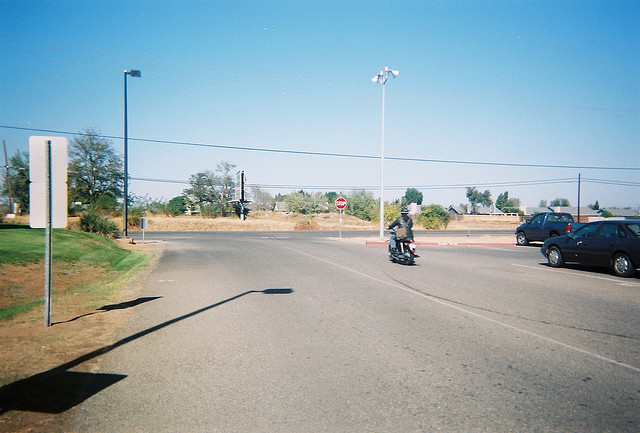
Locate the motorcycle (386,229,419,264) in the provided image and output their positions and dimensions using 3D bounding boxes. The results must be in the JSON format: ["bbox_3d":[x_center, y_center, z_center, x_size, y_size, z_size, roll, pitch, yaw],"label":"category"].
[{"bbox_3d":[2.902,1.252,18.486,1.921,1.128,0.777,-3,-10,35],"label":"motorcycle"}]

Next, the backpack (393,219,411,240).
[{"bbox_3d":[3.110,0.661,18.080,0.490,0.394,0.372,-6,-9,-13],"label":"backpack"}]

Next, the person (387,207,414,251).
[{"bbox_3d":[3.213,0.393,18.592,1.034,1.039,1.602,-1,9,-4],"label":"person"}]
